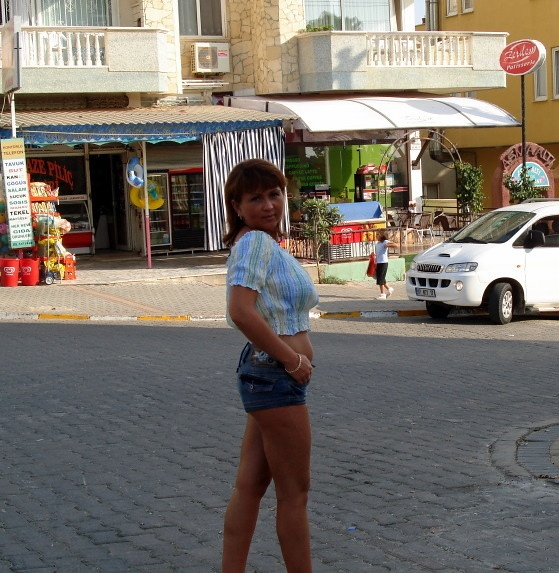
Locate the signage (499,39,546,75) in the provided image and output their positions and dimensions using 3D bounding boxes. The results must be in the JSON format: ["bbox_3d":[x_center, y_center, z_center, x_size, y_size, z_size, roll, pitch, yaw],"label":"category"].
[{"bbox_3d":[6.998,-6.561,22.891,0.685,1.045,1.442,-8,8,-23],"label":"signage"}]

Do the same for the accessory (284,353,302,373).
[{"bbox_3d":[0.059,0.286,2.943,0.018,0.063,0.071,36,-35,-28],"label":"accessory"}]

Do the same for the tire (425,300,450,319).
[{"bbox_3d":[3.061,0.446,15.354,0.471,0.385,0.181,1,4,-39],"label":"tire"}]

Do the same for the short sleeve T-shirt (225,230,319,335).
[{"bbox_3d":[-0.011,-0.027,3.168,0.418,0.484,0.591,-4,4,-6],"label":"short sleeve T-shirt"}]

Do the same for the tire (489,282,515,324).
[{"bbox_3d":[3.979,0.273,14.306,0.206,0.585,0.638,-1,28,28],"label":"tire"}]

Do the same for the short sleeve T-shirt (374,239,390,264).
[{"bbox_3d":[2.230,-0.762,17.611,0.384,0.519,0.300,-1,9,27],"label":"short sleeve T-shirt"}]

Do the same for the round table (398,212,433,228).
[{"bbox_3d":[4.240,-2.017,24.694,0.856,0.231,1.068,-1,4,19],"label":"round table"}]

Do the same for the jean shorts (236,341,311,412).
[{"bbox_3d":[-0.050,0.357,2.948,0.276,0.262,0.342,-5,3,-5],"label":"jean shorts"}]
